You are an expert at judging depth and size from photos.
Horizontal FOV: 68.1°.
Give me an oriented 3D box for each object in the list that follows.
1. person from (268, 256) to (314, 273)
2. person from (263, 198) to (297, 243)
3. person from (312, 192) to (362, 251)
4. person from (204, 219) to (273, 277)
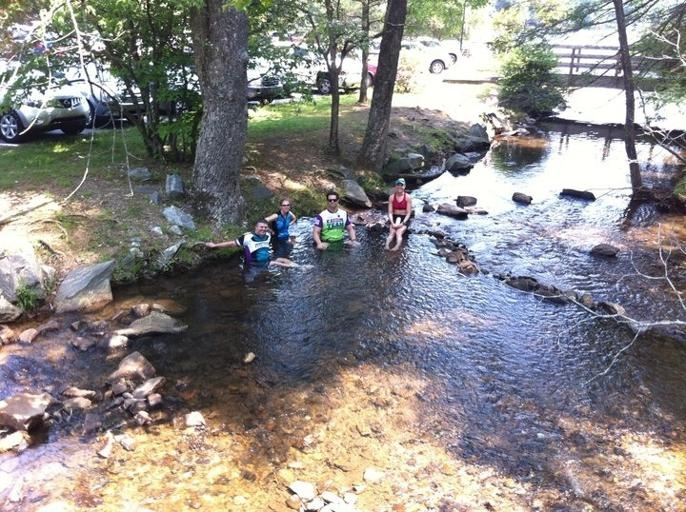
[{"bbox_3d":[-1.296,0.213,12.999,1.147,0.160,0.464,6,20,12],"label":"person"},{"bbox_3d":[-1.724,-0.928,13.917,0.937,1.561,0.533,-17,28,-36],"label":"person"},{"bbox_3d":[-0.222,-0.983,13.903,1.184,1.490,0.531,-9,22,-26],"label":"person"},{"bbox_3d":[-2.676,-0.150,12.930,1.339,1.275,0.413,-10,25,-32],"label":"person"}]
